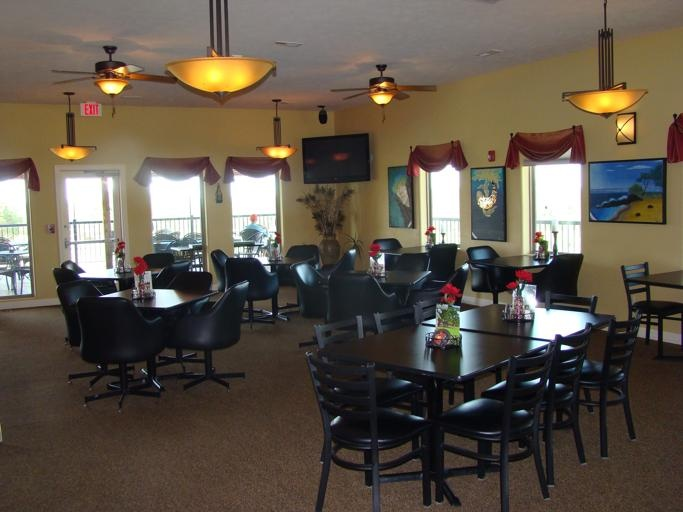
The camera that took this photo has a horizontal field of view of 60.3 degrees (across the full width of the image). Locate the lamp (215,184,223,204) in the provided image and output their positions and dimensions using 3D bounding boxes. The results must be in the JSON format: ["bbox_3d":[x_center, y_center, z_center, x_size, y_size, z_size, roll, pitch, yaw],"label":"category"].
[{"bbox_3d":[-2.479,-1.252,11.859,0.184,0.379,0.125,-9,16,-26],"label":"lamp"}]

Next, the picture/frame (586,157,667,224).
[{"bbox_3d":[3.796,-0.865,7.715,0.088,0.758,0.885,-7,8,-40],"label":"picture/frame"}]

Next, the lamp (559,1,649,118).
[{"bbox_3d":[2.954,-2.140,6.402,0.714,1.208,2.006,5,15,27],"label":"lamp"}]

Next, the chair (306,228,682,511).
[{"bbox_3d":[0.992,1.121,4.793,2.135,1.157,1.086,-10,16,-30],"label":"chair"}]

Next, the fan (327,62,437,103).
[{"bbox_3d":[0.655,-2.639,8.867,0.967,0.448,0.957,-3,6,-23],"label":"fan"}]

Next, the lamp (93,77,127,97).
[{"bbox_3d":[-2.708,-1.993,6.918,0.384,0.183,0.314,6,15,30],"label":"lamp"}]

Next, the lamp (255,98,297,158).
[{"bbox_3d":[-1.272,-2.428,11.504,1.069,1.248,1.075,-1,-1,-9],"label":"lamp"}]

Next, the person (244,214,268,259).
[{"bbox_3d":[-1.940,-0.339,13.106,0.665,1.161,0.673,2,4,12],"label":"person"}]

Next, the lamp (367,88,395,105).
[{"bbox_3d":[0.510,-2.085,7.697,0.257,0.153,0.263,5,10,32],"label":"lamp"}]

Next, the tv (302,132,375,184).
[{"bbox_3d":[-0.023,-1.970,11.918,1.086,0.759,0.114,-1,6,24],"label":"tv"}]
